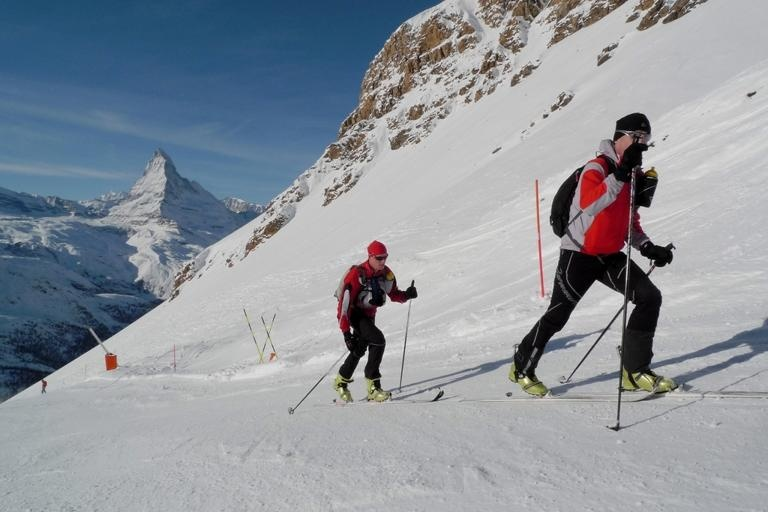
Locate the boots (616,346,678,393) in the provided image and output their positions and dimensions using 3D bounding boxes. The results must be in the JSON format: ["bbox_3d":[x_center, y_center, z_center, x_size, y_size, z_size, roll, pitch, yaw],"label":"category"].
[{"bbox_3d":[3.967,1.809,8.980,0.342,0.408,1.011,-11,-2,-25],"label":"boots"}]

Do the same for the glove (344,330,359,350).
[{"bbox_3d":[-0.537,1.519,10.772,0.260,0.292,0.332,-12,-17,-5],"label":"glove"}]

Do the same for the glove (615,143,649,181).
[{"bbox_3d":[3.523,-1.360,8.675,0.421,0.553,0.172,9,26,-38],"label":"glove"}]

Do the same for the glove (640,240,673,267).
[{"bbox_3d":[4.108,-0.014,9.027,0.417,0.413,0.219,-29,-28,-19],"label":"glove"}]

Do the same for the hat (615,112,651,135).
[{"bbox_3d":[3.738,-1.962,8.953,0.474,0.328,0.337,4,9,25],"label":"hat"}]

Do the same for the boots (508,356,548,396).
[{"bbox_3d":[2.315,1.965,9.536,0.271,0.338,0.745,-6,10,-29],"label":"boots"}]

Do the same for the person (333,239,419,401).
[{"bbox_3d":[-0.288,1.178,10.767,1.583,2.846,1.081,-11,12,-14],"label":"person"}]

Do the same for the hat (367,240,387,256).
[{"bbox_3d":[-0.128,-0.164,10.653,0.311,0.249,0.478,-7,11,1],"label":"hat"}]
